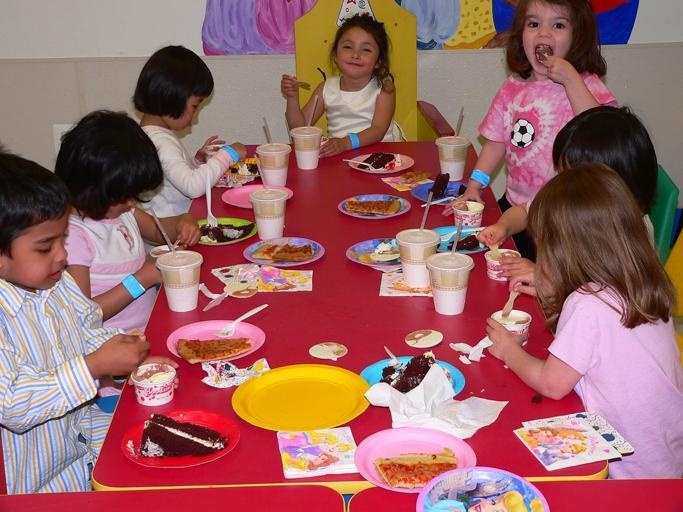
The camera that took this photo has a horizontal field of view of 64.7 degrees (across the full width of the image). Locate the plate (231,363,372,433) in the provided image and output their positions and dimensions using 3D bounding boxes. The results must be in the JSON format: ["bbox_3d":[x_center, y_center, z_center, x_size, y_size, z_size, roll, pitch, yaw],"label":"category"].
[{"bbox_3d":[-0.094,0.323,1.236,0.312,0.041,0.205,-2,22,-4],"label":"plate"}]

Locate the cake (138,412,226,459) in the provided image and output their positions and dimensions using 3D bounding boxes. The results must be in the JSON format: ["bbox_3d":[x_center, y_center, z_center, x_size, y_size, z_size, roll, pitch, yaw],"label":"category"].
[{"bbox_3d":[-0.329,0.363,1.094,0.136,0.055,0.079,7,12,-7],"label":"cake"}]

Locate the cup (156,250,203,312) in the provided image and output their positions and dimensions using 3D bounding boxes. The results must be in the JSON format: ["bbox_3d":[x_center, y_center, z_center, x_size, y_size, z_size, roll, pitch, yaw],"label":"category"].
[{"bbox_3d":[-0.475,0.074,1.673,0.164,0.158,0.160,0,24,0],"label":"cup"}]

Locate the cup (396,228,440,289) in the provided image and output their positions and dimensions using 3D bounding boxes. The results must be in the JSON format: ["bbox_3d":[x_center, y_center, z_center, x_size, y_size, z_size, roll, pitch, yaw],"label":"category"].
[{"bbox_3d":[0.235,0.003,1.761,0.160,0.176,0.163,-1,20,0],"label":"cup"}]

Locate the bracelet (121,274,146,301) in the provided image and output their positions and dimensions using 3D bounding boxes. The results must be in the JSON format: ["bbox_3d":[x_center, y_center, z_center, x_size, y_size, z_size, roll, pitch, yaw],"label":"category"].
[{"bbox_3d":[-0.719,0.106,1.855,0.047,0.071,0.069,-40,35,-20],"label":"bracelet"}]

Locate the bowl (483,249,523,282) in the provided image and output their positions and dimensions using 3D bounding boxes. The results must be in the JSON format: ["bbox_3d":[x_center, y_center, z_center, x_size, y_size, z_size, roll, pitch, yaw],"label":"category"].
[{"bbox_3d":[0.530,0.038,1.777,0.131,0.087,0.140,-9,26,4],"label":"bowl"}]

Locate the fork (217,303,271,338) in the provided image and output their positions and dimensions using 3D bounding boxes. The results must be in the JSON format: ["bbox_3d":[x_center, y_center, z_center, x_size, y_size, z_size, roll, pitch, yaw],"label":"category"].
[{"bbox_3d":[-0.268,0.179,1.518,0.039,0.036,0.247,14,18,16],"label":"fork"}]

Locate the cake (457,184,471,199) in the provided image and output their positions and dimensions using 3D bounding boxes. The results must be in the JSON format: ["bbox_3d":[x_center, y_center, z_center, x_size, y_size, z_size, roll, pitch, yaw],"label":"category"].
[{"bbox_3d":[0.546,-0.289,2.410,0.051,0.059,0.066,1,13,4],"label":"cake"}]

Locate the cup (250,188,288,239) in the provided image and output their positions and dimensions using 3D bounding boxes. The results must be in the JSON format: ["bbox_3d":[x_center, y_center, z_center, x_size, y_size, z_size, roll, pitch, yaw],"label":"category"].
[{"bbox_3d":[-0.262,-0.158,2.094,0.171,0.177,0.173,0,23,0],"label":"cup"}]

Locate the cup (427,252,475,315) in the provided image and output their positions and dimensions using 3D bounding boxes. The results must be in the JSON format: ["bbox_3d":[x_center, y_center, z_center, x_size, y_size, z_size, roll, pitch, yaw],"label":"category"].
[{"bbox_3d":[0.310,0.076,1.623,0.159,0.167,0.160,-2,21,1],"label":"cup"}]

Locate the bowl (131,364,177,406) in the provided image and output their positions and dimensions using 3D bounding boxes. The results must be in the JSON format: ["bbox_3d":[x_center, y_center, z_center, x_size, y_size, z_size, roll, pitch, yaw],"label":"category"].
[{"bbox_3d":[-0.434,0.277,1.235,0.089,0.054,0.089,1,19,0],"label":"bowl"}]

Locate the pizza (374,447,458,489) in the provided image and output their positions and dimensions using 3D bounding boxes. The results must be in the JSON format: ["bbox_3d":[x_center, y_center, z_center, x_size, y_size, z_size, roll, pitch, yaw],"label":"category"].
[{"bbox_3d":[0.148,0.401,1.022,0.096,0.017,0.069,-6,23,-7],"label":"pizza"}]

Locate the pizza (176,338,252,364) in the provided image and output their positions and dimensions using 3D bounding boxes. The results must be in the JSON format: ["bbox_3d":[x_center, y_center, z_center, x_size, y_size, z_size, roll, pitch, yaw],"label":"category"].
[{"bbox_3d":[-0.329,0.238,1.386,0.127,0.022,0.082,-4,16,-22],"label":"pizza"}]

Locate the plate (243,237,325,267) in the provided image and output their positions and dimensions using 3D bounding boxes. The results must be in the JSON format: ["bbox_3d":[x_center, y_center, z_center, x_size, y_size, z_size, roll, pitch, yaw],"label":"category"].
[{"bbox_3d":[-0.204,-0.012,1.884,0.147,0.021,0.157,5,23,14],"label":"plate"}]

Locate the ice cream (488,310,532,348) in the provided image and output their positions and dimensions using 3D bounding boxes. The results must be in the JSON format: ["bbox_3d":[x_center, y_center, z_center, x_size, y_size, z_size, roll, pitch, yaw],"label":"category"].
[{"bbox_3d":[0.464,0.185,1.479,0.092,0.062,0.090,-19,25,-29],"label":"ice cream"}]

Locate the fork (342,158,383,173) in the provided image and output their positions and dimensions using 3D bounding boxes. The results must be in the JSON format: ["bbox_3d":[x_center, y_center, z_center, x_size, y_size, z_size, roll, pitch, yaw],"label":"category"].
[{"bbox_3d":[0.107,-0.458,2.714,0.352,0.063,0.061,8,3,37],"label":"fork"}]

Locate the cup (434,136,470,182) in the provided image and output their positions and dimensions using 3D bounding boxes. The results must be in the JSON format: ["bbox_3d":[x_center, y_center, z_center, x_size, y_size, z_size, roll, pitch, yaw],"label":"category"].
[{"bbox_3d":[0.528,-0.474,2.633,0.198,0.194,0.201,-1,25,1],"label":"cup"}]

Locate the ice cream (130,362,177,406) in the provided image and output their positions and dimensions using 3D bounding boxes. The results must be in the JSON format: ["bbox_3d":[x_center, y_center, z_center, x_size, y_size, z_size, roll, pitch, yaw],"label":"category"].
[{"bbox_3d":[-0.442,0.303,1.259,0.099,0.061,0.100,-5,18,-35],"label":"ice cream"}]

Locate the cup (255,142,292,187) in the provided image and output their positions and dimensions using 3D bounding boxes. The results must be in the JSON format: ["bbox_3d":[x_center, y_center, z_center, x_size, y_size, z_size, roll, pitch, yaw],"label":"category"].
[{"bbox_3d":[-0.299,-0.406,2.410,0.197,0.201,0.198,0,23,0],"label":"cup"}]

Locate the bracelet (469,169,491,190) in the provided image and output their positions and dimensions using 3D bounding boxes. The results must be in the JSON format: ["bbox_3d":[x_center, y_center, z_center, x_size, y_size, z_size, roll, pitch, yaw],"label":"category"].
[{"bbox_3d":[0.632,-0.349,2.449,0.077,0.069,0.097,23,17,10],"label":"bracelet"}]

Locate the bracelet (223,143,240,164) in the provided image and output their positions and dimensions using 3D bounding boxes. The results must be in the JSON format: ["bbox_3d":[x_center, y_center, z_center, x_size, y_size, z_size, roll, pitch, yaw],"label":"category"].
[{"bbox_3d":[-0.534,-0.510,2.651,0.053,0.096,0.116,-38,1,2],"label":"bracelet"}]

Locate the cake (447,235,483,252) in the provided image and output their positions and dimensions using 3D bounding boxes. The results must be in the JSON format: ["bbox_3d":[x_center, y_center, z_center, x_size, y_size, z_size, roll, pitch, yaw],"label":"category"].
[{"bbox_3d":[0.433,-0.055,1.894,0.112,0.035,0.069,-3,41,1],"label":"cake"}]

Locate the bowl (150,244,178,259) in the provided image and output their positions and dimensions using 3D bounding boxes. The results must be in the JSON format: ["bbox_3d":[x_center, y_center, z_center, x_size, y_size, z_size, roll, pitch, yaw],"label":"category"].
[{"bbox_3d":[-0.606,-0.020,1.828,0.096,0.021,0.072,-13,24,-6],"label":"bowl"}]

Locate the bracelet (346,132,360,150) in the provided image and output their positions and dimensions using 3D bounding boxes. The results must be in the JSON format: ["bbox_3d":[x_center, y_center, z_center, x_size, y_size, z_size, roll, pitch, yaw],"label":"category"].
[{"bbox_3d":[0.058,-0.641,3.022,0.063,0.088,0.097,-2,49,-13],"label":"bracelet"}]

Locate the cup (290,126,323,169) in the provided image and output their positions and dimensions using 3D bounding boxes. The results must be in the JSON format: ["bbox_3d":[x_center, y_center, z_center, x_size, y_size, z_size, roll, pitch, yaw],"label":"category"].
[{"bbox_3d":[-0.142,-0.552,2.723,0.194,0.206,0.195,-1,23,0],"label":"cup"}]

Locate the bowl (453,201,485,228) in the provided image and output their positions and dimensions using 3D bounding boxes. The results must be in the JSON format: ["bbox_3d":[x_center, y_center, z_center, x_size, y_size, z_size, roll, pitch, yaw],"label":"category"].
[{"bbox_3d":[0.499,-0.172,2.111,0.105,0.076,0.107,-3,19,1],"label":"bowl"}]

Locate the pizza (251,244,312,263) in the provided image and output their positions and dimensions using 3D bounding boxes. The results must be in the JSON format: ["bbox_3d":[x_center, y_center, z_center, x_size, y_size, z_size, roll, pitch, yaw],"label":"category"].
[{"bbox_3d":[-0.207,-0.011,1.878,0.136,0.023,0.091,3,22,6],"label":"pizza"}]

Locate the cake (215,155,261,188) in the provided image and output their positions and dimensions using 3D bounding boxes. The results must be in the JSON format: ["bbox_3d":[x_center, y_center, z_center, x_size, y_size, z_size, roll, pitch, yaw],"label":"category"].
[{"bbox_3d":[-0.505,-0.401,2.651,0.183,0.056,0.189,-7,25,10],"label":"cake"}]

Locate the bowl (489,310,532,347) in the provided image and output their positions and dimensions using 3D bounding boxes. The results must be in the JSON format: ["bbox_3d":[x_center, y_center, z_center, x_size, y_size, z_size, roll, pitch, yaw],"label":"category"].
[{"bbox_3d":[0.463,0.179,1.468,0.091,0.062,0.091,-5,21,2],"label":"bowl"}]

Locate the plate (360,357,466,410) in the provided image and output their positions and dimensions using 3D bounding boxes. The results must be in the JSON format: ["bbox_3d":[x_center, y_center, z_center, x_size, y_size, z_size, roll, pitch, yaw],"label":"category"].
[{"bbox_3d":[0.170,0.282,1.276,0.254,0.052,0.159,-5,22,-9],"label":"plate"}]
